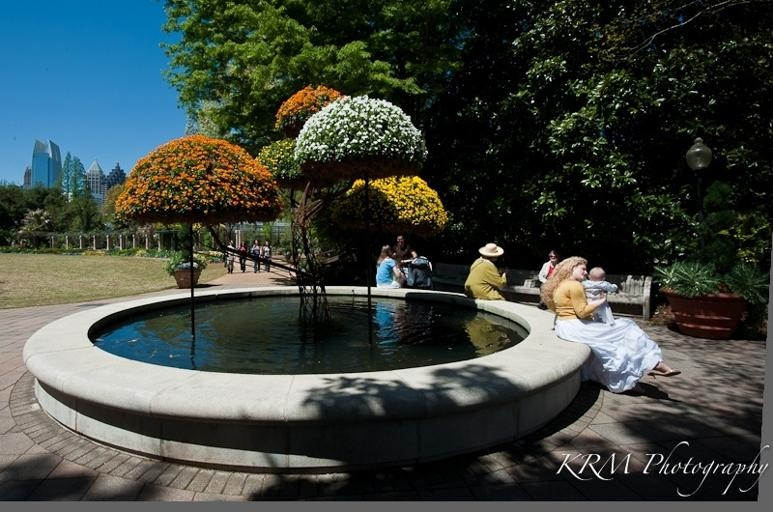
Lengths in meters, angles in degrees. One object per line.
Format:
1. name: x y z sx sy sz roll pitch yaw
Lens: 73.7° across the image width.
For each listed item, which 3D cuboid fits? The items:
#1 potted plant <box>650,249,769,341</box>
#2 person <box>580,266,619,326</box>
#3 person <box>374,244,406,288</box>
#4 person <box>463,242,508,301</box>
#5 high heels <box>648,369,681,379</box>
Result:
1. potted plant: 7.766 0.980 12.746 1.969 1.372 1.986 -1 -4 3
2. person: 3.970 0.760 9.639 0.550 1.273 0.553 11 33 38
3. person: 0.127 0.313 15.191 0.761 1.160 1.930 0 2 0
4. person: 2.510 0.487 12.966 0.991 1.434 1.137 -1 12 -22
5. high heels: 5.090 2.160 9.492 0.202 0.147 0.563 10 -20 -43
